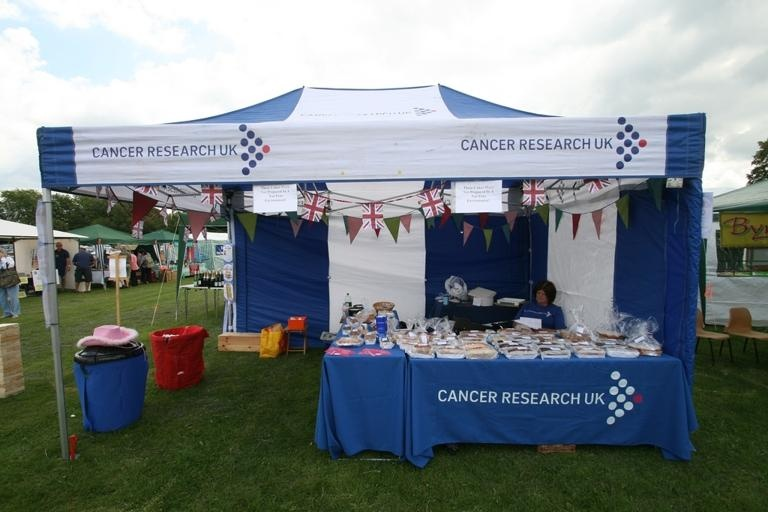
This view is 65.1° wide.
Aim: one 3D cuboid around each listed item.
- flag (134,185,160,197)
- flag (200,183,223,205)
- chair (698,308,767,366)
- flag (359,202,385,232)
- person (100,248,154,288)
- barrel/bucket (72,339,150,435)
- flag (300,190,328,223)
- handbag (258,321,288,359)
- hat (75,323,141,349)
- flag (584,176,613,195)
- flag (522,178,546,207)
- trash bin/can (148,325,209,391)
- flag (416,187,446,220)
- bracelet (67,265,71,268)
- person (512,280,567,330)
[{"bbox_3d":[-3.200,-0.886,8.173,0.269,0.074,0.259,-3,-4,-1],"label":"flag"},{"bbox_3d":[-2.162,-0.790,7.577,0.325,0.337,0.014,-2,-5,6],"label":"flag"},{"bbox_3d":[5.680,1.336,9.762,0.917,0.599,0.372,2,-7,-18],"label":"chair"},{"bbox_3d":[-0.177,-0.600,8.859,0.482,0.556,0.089,0,-7,-4],"label":"flag"},{"bbox_3d":[-6.956,0.378,16.302,0.931,1.618,1.145,-2,3,-10],"label":"person"},{"bbox_3d":[-3.510,1.683,7.837,0.934,1.068,0.801,-3,3,-41],"label":"barrel/bucket"},{"bbox_3d":[-1.042,-0.699,8.272,0.134,0.488,0.509,5,3,39],"label":"flag"},{"bbox_3d":[-1.758,1.393,9.729,0.315,0.419,0.558,1,4,18],"label":"handbag"},{"bbox_3d":[-3.484,0.949,7.554,0.475,0.177,0.410,0,-2,15],"label":"hat"},{"bbox_3d":[2.824,-0.976,7.974,0.270,0.264,0.066,5,-35,34],"label":"flag"},{"bbox_3d":[1.898,-0.799,7.739,0.306,0.324,0.085,0,7,4],"label":"flag"},{"bbox_3d":[-2.952,1.466,8.705,0.734,0.773,0.801,-6,0,29],"label":"trash bin/can"},{"bbox_3d":[0.635,-0.713,7.975,0.260,0.354,0.311,-2,3,-4],"label":"flag"},{"bbox_3d":[-8.830,0.277,16.884,0.019,0.078,0.080,2,-1,9],"label":"bracelet"},{"bbox_3d":[2.136,0.698,8.275,0.793,0.727,0.491,7,-4,45],"label":"person"}]
